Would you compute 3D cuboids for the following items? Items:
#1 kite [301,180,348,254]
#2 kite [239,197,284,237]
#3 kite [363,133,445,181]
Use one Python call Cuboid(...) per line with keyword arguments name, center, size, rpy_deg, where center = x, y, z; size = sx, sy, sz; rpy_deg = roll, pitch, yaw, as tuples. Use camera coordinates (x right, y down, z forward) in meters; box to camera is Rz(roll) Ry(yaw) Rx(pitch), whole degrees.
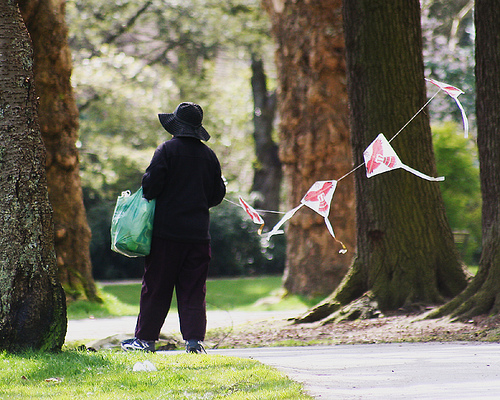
Cuboid(name="kite", center=(1.512, 0.363, 31.059), size=(0.957, 1.425, 0.539), rpy_deg=(-31, -20, 33))
Cuboid(name="kite", center=(0.079, 0.285, 31.175), size=(0.685, 0.842, 0.537), rpy_deg=(-1, -2, -11))
Cuboid(name="kite", center=(2.905, -0.787, 31.044), size=(1.297, 0.879, 1.014), rpy_deg=(1, -2, 21))
